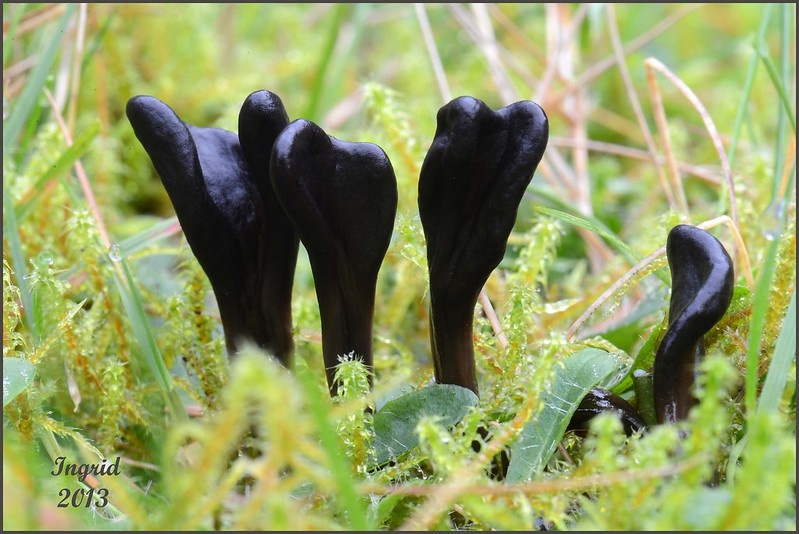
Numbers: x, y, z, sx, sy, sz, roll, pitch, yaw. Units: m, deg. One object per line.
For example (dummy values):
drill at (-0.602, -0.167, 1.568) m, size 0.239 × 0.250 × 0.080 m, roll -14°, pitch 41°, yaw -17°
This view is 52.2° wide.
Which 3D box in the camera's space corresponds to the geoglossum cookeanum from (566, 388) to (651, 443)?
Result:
geoglossum cookeanum at (0.268, 0.198, 1.094) m, size 0.069 × 0.029 × 0.088 m, roll -11°, pitch -3°, yaw -32°
